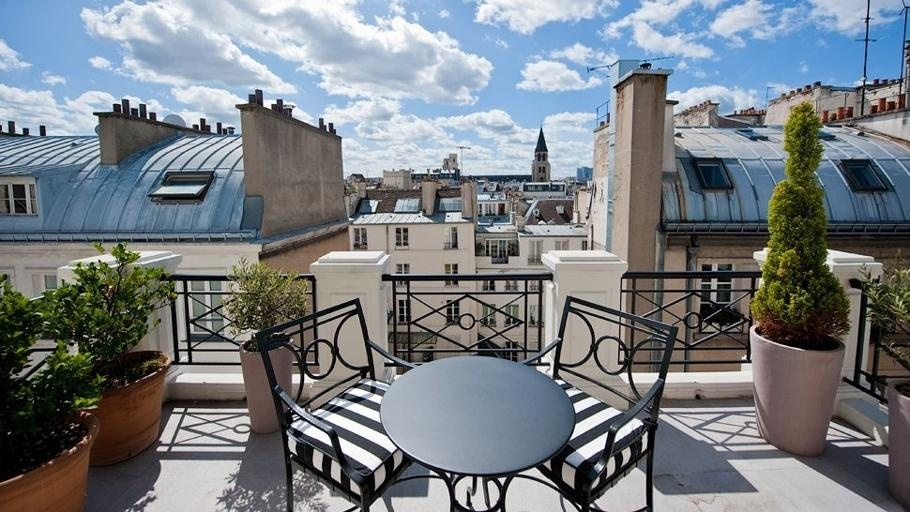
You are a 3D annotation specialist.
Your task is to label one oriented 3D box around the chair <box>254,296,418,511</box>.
[{"bbox_3d":[-1.584,1.961,7.509,1.767,2.415,1.839,12,25,31],"label":"chair"}]
